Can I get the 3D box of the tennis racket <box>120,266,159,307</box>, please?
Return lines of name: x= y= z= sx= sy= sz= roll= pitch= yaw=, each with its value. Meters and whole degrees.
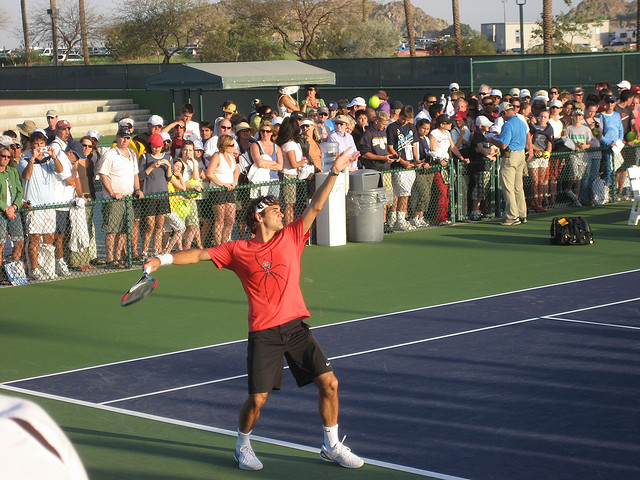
tennis racket: x=-2.381 y=0.625 z=12.712 sx=0.417 sy=0.095 sz=1.117 roll=-40 pitch=7 yaw=-7

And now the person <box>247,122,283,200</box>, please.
person: x=-0.999 y=-1.195 z=18.168 sx=0.655 sy=1.926 sz=0.515 roll=-5 pitch=22 yaw=-15

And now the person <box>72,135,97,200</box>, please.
person: x=-4.164 y=-1.220 z=17.209 sx=0.350 sy=1.273 sz=1.668 roll=-4 pitch=14 yaw=-10

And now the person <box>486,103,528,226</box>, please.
person: x=3.797 y=-1.345 z=19.464 sx=0.611 sy=2.274 sz=0.828 roll=1 pitch=14 yaw=10

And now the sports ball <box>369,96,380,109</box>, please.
sports ball: x=1.325 y=-3.373 z=24.138 sx=0.299 sy=0.305 sz=0.353 roll=-2 pitch=40 yaw=5

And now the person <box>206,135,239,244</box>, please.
person: x=-1.739 y=-0.820 z=17.673 sx=0.744 sy=2.117 sz=0.600 roll=-5 pitch=9 yaw=-43

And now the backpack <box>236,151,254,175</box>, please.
backpack: x=-1.413 y=-1.429 z=18.080 sx=0.150 sy=0.387 sz=0.295 roll=-1 pitch=17 yaw=-27

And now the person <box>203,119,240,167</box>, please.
person: x=-1.799 y=-1.702 z=17.875 sx=0.692 sy=0.987 sz=0.544 roll=6 pitch=-9 yaw=-11

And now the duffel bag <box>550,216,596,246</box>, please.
duffel bag: x=4.722 y=-0.168 z=18.279 sx=0.766 sy=0.478 sz=0.400 roll=2 pitch=14 yaw=12

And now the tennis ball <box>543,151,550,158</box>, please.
tennis ball: x=4.769 y=-1.791 z=20.568 sx=0.113 sy=0.137 sz=0.192 roll=4 pitch=15 yaw=21

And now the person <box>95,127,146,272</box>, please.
person: x=-3.445 y=-0.702 z=16.836 sx=0.781 sy=2.426 sz=0.816 roll=-5 pitch=14 yaw=-13
